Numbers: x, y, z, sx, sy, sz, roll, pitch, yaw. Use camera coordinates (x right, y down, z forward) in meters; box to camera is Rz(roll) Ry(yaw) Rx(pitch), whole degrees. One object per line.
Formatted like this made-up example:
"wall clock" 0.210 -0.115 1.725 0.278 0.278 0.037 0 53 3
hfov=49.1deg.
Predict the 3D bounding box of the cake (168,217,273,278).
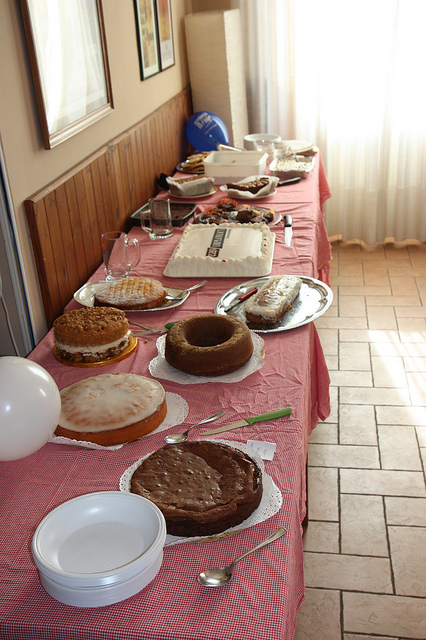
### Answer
"cake" 0.045 -0.277 1.762 0.363 0.076 0.452 0 28 8

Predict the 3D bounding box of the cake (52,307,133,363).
"cake" -0.306 0.029 1.205 0.177 0.083 0.183 -1 26 -8

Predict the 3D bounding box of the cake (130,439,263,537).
"cake" -0.027 0.257 0.712 0.194 0.050 0.202 0 11 0

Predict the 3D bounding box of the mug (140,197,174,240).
"mug" -0.244 -0.432 2.032 0.142 0.154 0.094 -7 2 -4

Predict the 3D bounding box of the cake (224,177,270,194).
"cake" 0.190 -0.705 2.417 0.148 0.052 0.110 -6 26 19

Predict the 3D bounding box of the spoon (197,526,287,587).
"spoon" 0.049 0.289 0.613 0.158 0.019 0.037 -29 21 -34

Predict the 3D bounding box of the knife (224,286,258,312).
"knife" 0.084 -0.062 1.385 0.017 0.016 0.154 19 35 25

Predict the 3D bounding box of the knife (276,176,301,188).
"knife" 0.402 -0.771 2.578 0.197 0.028 0.080 -21 32 -29

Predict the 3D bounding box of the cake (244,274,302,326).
"cake" 0.176 -0.086 1.343 0.096 0.058 0.213 11 34 21

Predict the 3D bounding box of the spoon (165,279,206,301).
"spoon" -0.079 -0.093 1.499 0.046 0.031 0.201 15 29 28

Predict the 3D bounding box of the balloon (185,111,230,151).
"balloon" -0.013 -1.244 3.131 0.215 0.294 0.178 -43 10 13

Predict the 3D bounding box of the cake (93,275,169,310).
"cake" -0.244 -0.082 1.412 0.131 0.028 0.129 6 30 14
